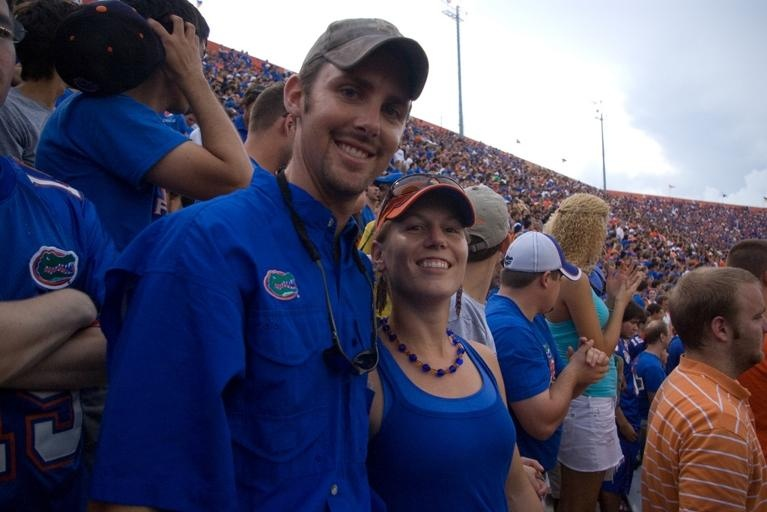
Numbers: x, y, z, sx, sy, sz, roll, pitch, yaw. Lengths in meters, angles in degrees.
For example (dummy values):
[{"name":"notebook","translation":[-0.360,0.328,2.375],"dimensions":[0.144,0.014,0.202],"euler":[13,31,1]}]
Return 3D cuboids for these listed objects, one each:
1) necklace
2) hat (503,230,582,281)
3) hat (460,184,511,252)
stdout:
[{"name":"necklace","translation":[0.184,0.488,2.988],"dimensions":[0.349,0.059,0.293],"euler":[45,35,8]},{"name":"hat","translation":[1.163,-0.024,4.341],"dimensions":[0.611,0.366,0.410],"euler":[0,4,-26]},{"name":"hat","translation":[0.699,-0.264,4.013],"dimensions":[0.320,0.254,0.473],"euler":[10,31,27]}]
